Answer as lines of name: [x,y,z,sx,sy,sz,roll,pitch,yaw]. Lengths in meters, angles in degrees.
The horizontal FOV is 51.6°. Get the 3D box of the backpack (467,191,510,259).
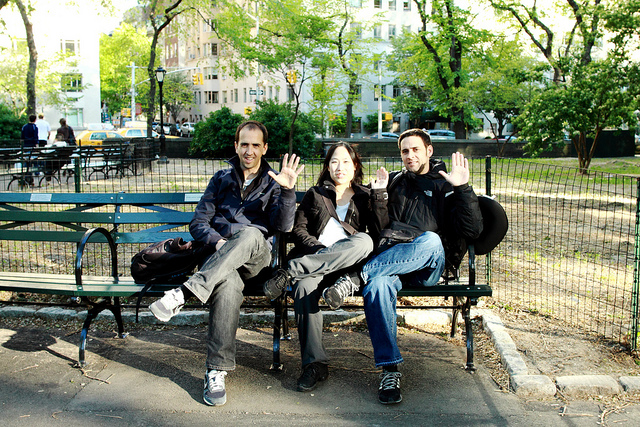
backpack: [2.183,0.170,8.058,0.648,0.684,0.257,-1,3,39]

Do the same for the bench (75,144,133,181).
bench: [-6.912,-1.665,21.173,1.159,1.096,4.631,-4,8,-21]

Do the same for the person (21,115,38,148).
person: [-9.603,-2.735,21.899,0.482,1.024,0.700,-5,9,-23]

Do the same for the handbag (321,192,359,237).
handbag: [0.218,0.030,7.936,0.090,0.682,0.076,-46,9,-10]

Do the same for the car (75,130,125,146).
car: [-10.969,-3.783,32.571,1.815,0.613,2.779,-1,8,-1]
